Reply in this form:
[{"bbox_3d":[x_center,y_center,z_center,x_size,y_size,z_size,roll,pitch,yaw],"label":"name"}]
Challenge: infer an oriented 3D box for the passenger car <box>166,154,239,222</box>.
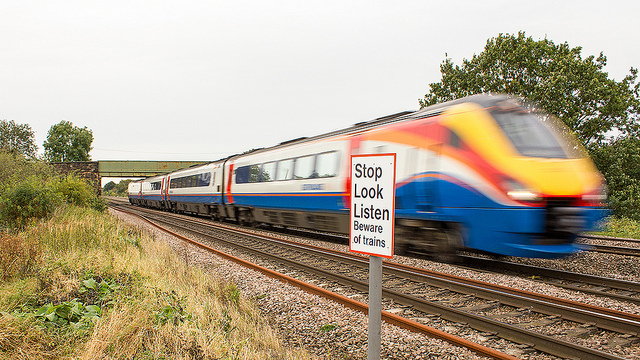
[{"bbox_3d":[-7.876,0.850,22.388,3.763,4.470,14.270,1,-2,-32],"label":"passenger car"}]
